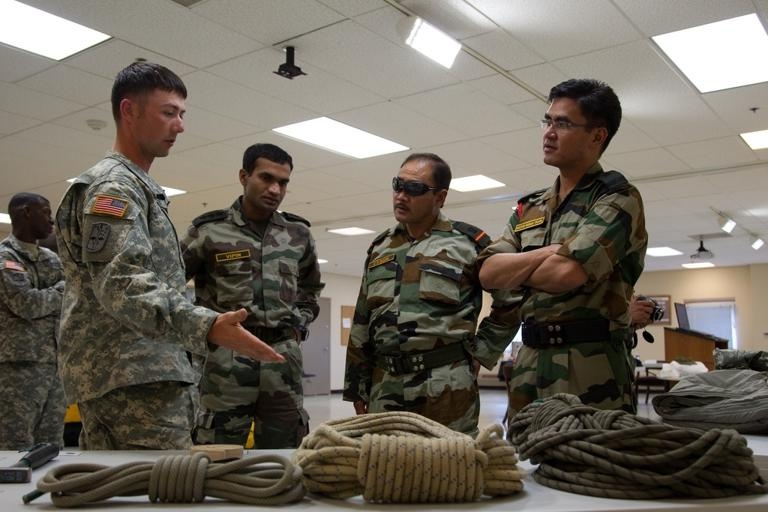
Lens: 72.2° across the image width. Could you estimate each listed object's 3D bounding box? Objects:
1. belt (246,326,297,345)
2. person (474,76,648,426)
[{"bbox_3d":[-0.605,0.429,2.888,0.137,0.058,0.186,-2,-7,23],"label":"belt"},{"bbox_3d":[0.721,-0.049,2.054,0.681,1.337,0.739,0,11,9],"label":"person"}]
